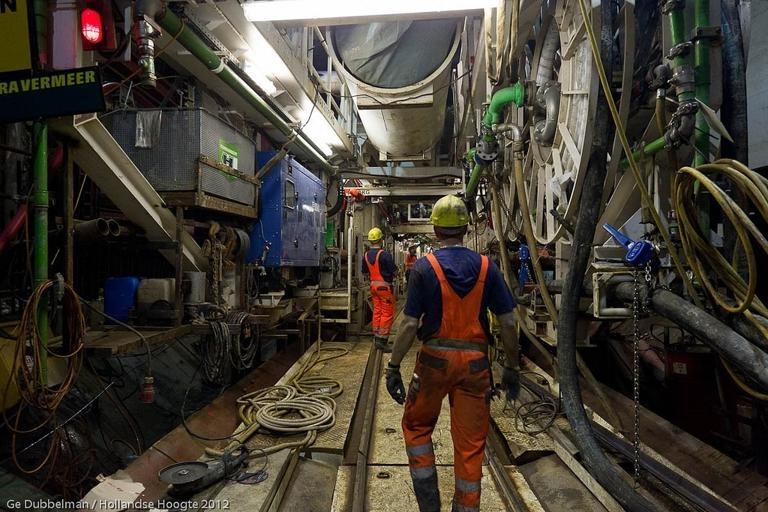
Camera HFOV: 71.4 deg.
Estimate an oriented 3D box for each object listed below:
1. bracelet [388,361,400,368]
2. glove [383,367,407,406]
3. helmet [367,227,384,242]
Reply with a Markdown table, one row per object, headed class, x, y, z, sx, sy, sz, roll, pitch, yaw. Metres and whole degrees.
| class | x | y | z | sx | sy | sz | roll | pitch | yaw |
| --- | --- | --- | --- | --- | --- | --- | --- | --- | --- |
| bracelet | 0.093 | 1.147 | 5.575 | 0.068 | 0.063 | 0.091 | 3 | -12 | 13 |
| glove | 0.123 | 1.374 | 5.755 | 0.299 | 0.455 | 0.202 | 9 | -9 | 9 |
| helmet | -0.191 | -0.420 | 10.643 | 0.282 | 0.209 | 0.385 | 0 | 9 | 4 |
